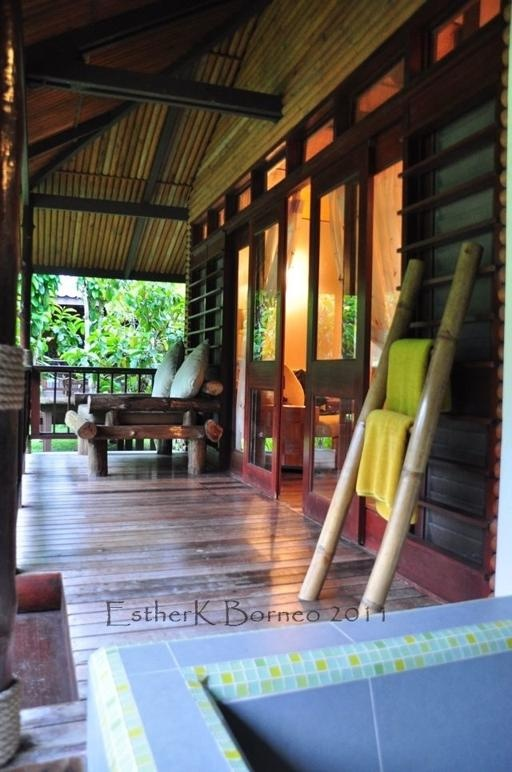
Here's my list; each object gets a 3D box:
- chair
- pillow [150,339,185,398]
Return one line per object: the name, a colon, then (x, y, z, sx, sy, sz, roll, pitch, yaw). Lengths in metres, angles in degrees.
chair: (-1.285, 0.458, 5.886, 1.514, 0.756, 1.981, 2, -1, -18)
pillow: (-0.989, -0.191, 6.124, 0.147, 0.537, 0.538, 13, -14, -11)
